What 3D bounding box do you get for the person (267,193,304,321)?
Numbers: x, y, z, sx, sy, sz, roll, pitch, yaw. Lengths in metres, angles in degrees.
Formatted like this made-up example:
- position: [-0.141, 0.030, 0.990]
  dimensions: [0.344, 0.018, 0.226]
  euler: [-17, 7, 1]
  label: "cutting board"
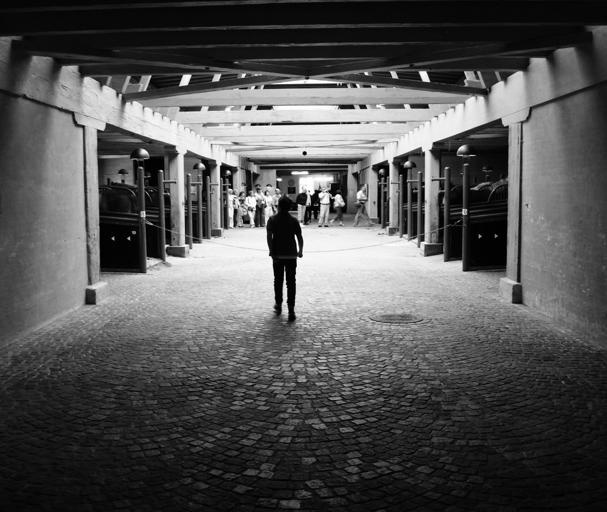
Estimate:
- position: [-0.288, -0.014, 7.571]
  dimensions: [0.526, 1.803, 0.784]
  euler: [-1, 6, -4]
  label: "person"
